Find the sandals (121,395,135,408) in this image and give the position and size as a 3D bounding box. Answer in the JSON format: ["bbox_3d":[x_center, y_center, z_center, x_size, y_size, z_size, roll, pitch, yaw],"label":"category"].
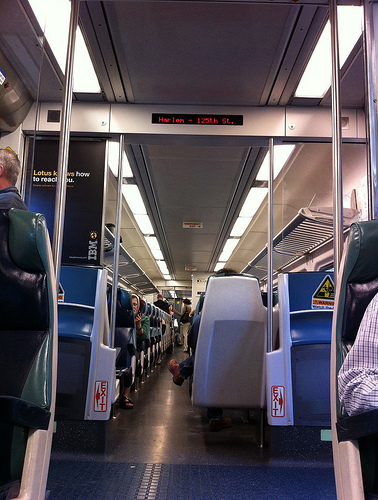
[{"bbox_3d":[-0.957,2.322,5.291,0.159,0.152,0.506,1,-14,-5],"label":"sandals"}]

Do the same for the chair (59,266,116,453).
[{"bbox_3d":[-0.987,0.976,3.289,0.562,1.614,0.719,3,-13,-14],"label":"chair"}]
